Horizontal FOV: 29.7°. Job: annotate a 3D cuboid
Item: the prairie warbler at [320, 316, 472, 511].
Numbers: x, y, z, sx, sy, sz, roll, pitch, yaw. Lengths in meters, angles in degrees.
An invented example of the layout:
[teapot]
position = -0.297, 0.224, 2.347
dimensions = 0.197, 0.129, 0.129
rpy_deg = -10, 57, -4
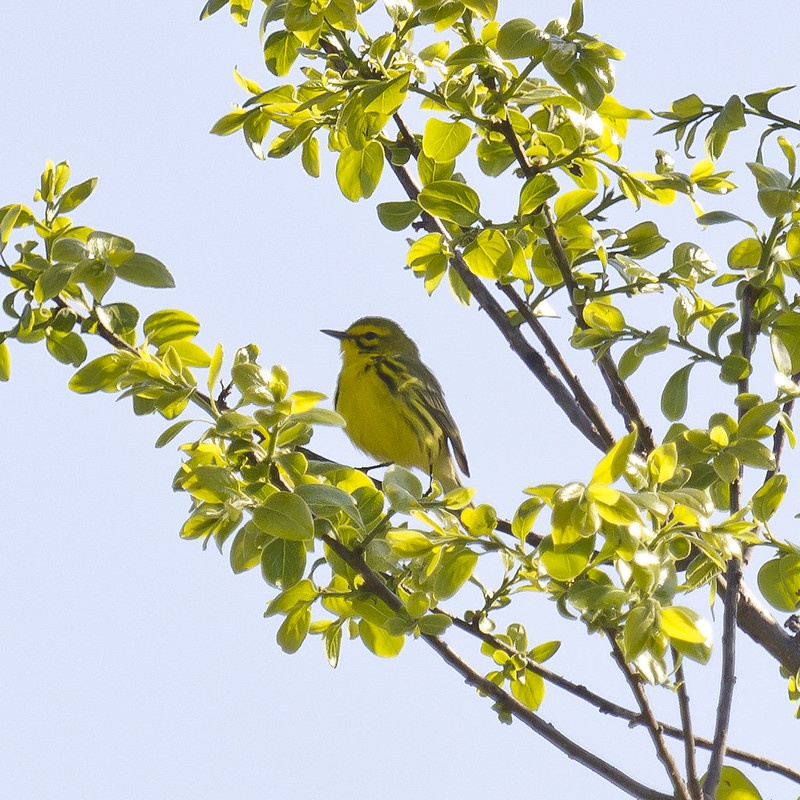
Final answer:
[prairie warbler]
position = -0.020, 0.195, 6.783
dimensions = 0.533, 1.541, 0.780
rpy_deg = -9, -64, 6
